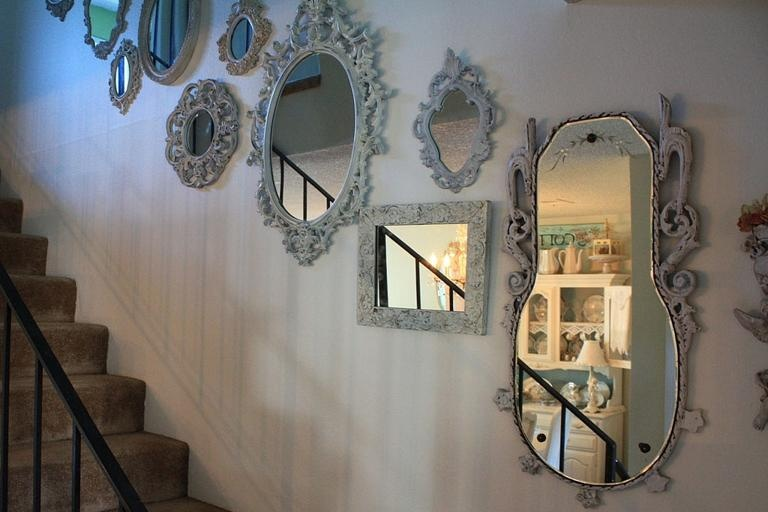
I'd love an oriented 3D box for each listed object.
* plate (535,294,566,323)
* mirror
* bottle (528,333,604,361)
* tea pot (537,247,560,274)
[{"bbox_3d":[0.711,0.231,2.993,0.090,0.104,0.113,11,-16,-37],"label":"plate"},{"bbox_3d":[0.005,0.050,3.380,2.688,2.030,0.043,8,4,44],"label":"mirror"},{"bbox_3d":[0.842,0.398,2.926,0.192,0.111,0.026,4,-1,18],"label":"bottle"},{"bbox_3d":[0.717,0.018,2.955,0.104,0.110,0.087,-2,-2,23],"label":"tea pot"}]
